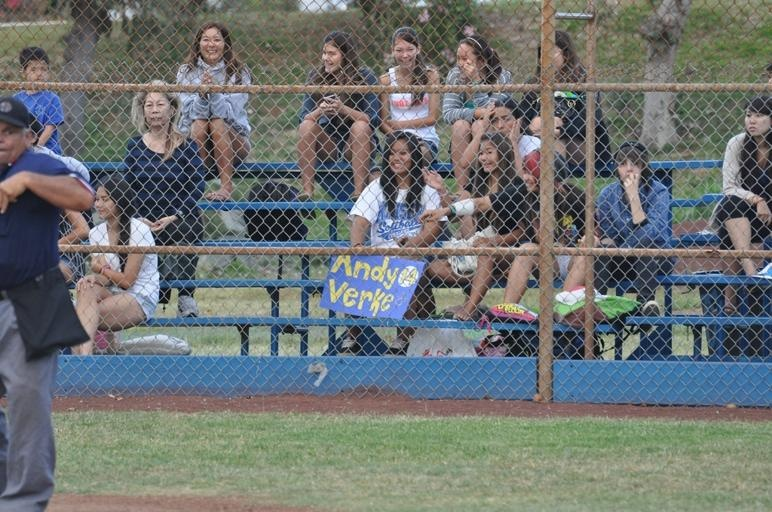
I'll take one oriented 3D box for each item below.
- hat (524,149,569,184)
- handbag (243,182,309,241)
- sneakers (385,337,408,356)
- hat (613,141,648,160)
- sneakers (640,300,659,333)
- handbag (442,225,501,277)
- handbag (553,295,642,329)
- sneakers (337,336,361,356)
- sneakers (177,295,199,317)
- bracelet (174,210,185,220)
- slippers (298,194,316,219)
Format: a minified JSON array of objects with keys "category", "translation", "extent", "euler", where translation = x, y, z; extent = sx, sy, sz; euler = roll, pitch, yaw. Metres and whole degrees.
[{"category":"hat","translation":[1.557,-0.872,14.066],"extent":[0.361,0.361,0.275],"euler":[4,1,13]},{"category":"handbag","translation":[-1.111,-0.420,14.455],"extent":[0.528,0.611,0.336],"euler":[2,11,13]},{"category":"sneakers","translation":[0.120,0.902,14.033],"extent":[0.177,0.171,0.057],"euler":[10,-12,4]},{"category":"hat","translation":[2.393,-1.000,14.012],"extent":[0.314,0.209,0.275],"euler":[2,-2,8]},{"category":"sneakers","translation":[2.509,0.589,13.682],"extent":[0.185,0.319,0.263],"euler":[2,-2,11]},{"category":"handbag","translation":[0.774,-0.100,14.003],"extent":[0.761,0.325,0.557],"euler":[4,5,14]},{"category":"handbag","translation":[2.033,0.514,13.629],"extent":[0.820,0.312,0.761],"euler":[-5,4,11]},{"category":"sneakers","translation":[-0.366,0.893,14.065],"extent":[0.180,0.181,0.181],"euler":[0,-6,7]},{"category":"sneakers","translation":[-1.957,0.501,14.163],"extent":[0.144,0.169,0.244],"euler":[1,-19,-15]},{"category":"bracelet","translation":[-2.034,-0.389,14.156],"extent":[0.090,0.083,0.024],"euler":[-3,3,1]},{"category":"slippers","translation":[-0.812,-0.488,14.687],"extent":[0.113,0.331,0.129],"euler":[-4,41,-2]}]
